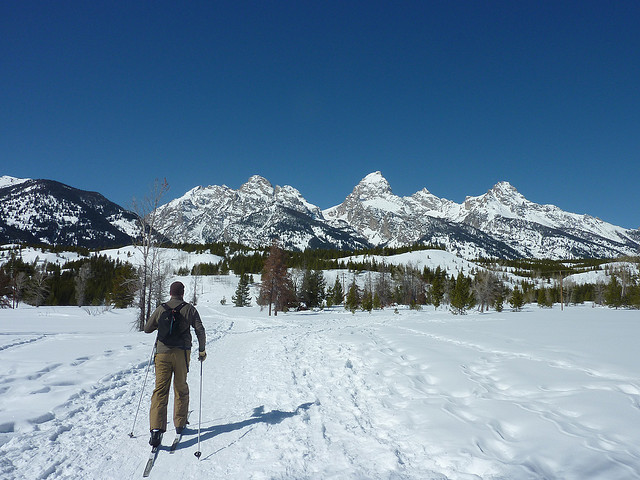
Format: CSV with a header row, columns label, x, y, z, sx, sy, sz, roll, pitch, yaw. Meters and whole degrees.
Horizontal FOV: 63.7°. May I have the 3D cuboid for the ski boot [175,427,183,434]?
label,x,y,z,sx,sy,sz,roll,pitch,yaw
ski boot,-3.981,5.391,14.593,0.157,0.170,0.150,-2,-3,42

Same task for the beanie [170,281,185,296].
label,x,y,z,sx,sy,sz,roll,pitch,yaw
beanie,-4.227,1.449,15.274,0.398,0.433,0.291,-2,5,-18

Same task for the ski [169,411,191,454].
label,x,y,z,sx,sy,sz,roll,pitch,yaw
ski,-3.968,5.570,14.401,0.096,0.120,0.960,10,23,5

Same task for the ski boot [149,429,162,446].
label,x,y,z,sx,sy,sz,roll,pitch,yaw
ski boot,-4.492,5.411,14.092,0.219,0.408,0.408,2,-40,-7
